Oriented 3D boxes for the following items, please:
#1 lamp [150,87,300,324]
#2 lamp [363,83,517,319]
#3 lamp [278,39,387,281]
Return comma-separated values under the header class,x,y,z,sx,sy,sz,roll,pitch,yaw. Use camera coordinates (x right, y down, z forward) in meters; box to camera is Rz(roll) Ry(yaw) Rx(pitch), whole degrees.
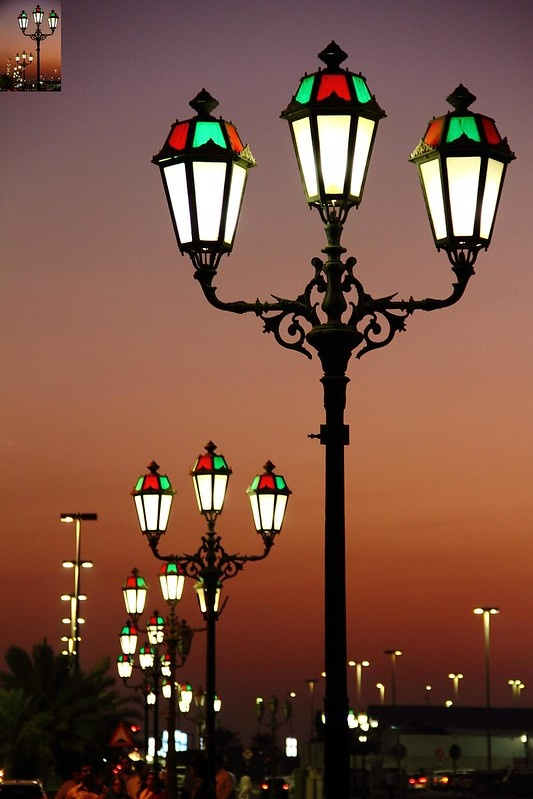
class,x,y,z,sx,sy,sz,roll,pitch,yaw
lamp,-0.357,-1.255,10.349,0.528,1.448,0.825,-10,-17,30
lamp,1.123,-1.289,10.298,0.632,1.474,0.798,10,-18,-37
lamp,0.404,-1.568,9.988,0.555,0.866,0.493,-13,-19,40
